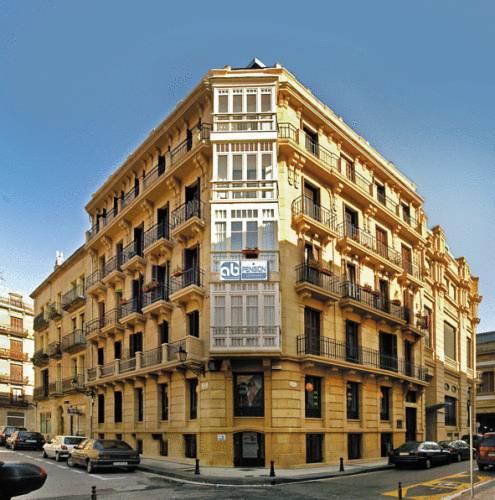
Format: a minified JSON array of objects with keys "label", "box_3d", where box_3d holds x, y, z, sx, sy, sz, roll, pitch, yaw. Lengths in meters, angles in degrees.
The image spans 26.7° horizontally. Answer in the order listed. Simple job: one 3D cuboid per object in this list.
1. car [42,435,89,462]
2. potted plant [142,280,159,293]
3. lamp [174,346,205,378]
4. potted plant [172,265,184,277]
[{"label":"car","box_3d":[-10.265,10.982,57.758,1.281,0.929,2.778,7,-13,-27]},{"label":"potted plant","box_3d":[-5.669,2.094,60.681,0.467,0.617,1.533,13,-27,-27]},{"label":"lamp","box_3d":[-3.070,5.925,55.308,1.589,1.762,0.683,6,-8,-25]},{"label":"potted plant","box_3d":[-3.953,1.225,58.398,0.561,0.191,0.561,5,-29,-41]}]
